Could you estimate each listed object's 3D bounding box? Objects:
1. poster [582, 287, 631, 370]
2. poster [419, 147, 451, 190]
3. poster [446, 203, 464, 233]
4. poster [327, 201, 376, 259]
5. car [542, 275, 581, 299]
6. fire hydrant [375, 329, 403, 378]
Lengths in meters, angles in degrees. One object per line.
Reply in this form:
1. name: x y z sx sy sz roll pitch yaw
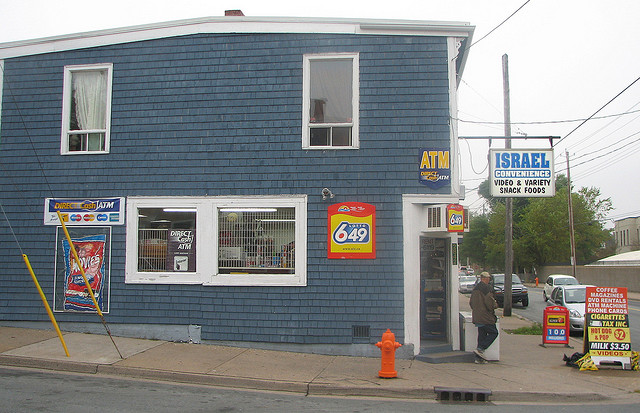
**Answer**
1. poster: 8.419 3.515 20.982 1.345 2.396 1.044 -1 0 0
2. poster: 3.410 -1.138 20.964 1.038 1.257 0.159 2 5 35
3. poster: 3.928 0.333 20.479 0.574 0.826 0.341 4 7 4
4. poster: 0.931 0.698 20.861 1.349 1.619 0.537 2 7 -9
5. car: 12.388 4.096 36.558 1.224 0.933 1.956 1 -13 -6
6. fire hydrant: 1.844 3.907 18.947 0.549 1.271 0.579 1 -6 -8
